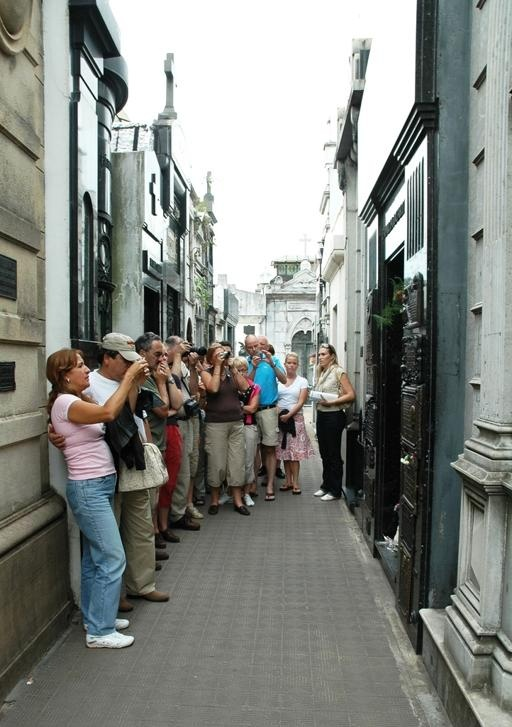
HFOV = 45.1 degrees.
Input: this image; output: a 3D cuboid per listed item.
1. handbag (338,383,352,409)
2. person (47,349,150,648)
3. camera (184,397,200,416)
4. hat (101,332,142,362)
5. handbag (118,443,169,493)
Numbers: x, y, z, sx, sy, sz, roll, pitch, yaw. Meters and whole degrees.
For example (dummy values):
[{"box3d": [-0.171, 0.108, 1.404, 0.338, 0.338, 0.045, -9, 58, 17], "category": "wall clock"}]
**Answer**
[{"box3d": [1.016, 0.356, 6.897, 0.110, 0.248, 0.212, -6, -7, 3], "category": "handbag"}, {"box3d": [-0.872, 0.711, 3.351, 0.460, 1.584, 0.512, 0, 0, 17], "category": "person"}, {"box3d": [-0.600, 0.335, 5.709, 0.099, 0.182, 0.230, -2, 9, 8], "category": "camera"}, {"box3d": [-0.783, -0.106, 3.545, 0.211, 0.138, 0.155, 21, 12, -11], "category": "hat"}, {"box3d": [-0.680, 0.654, 3.736, 0.223, 0.336, 0.299, -11, -4, 1], "category": "handbag"}]
